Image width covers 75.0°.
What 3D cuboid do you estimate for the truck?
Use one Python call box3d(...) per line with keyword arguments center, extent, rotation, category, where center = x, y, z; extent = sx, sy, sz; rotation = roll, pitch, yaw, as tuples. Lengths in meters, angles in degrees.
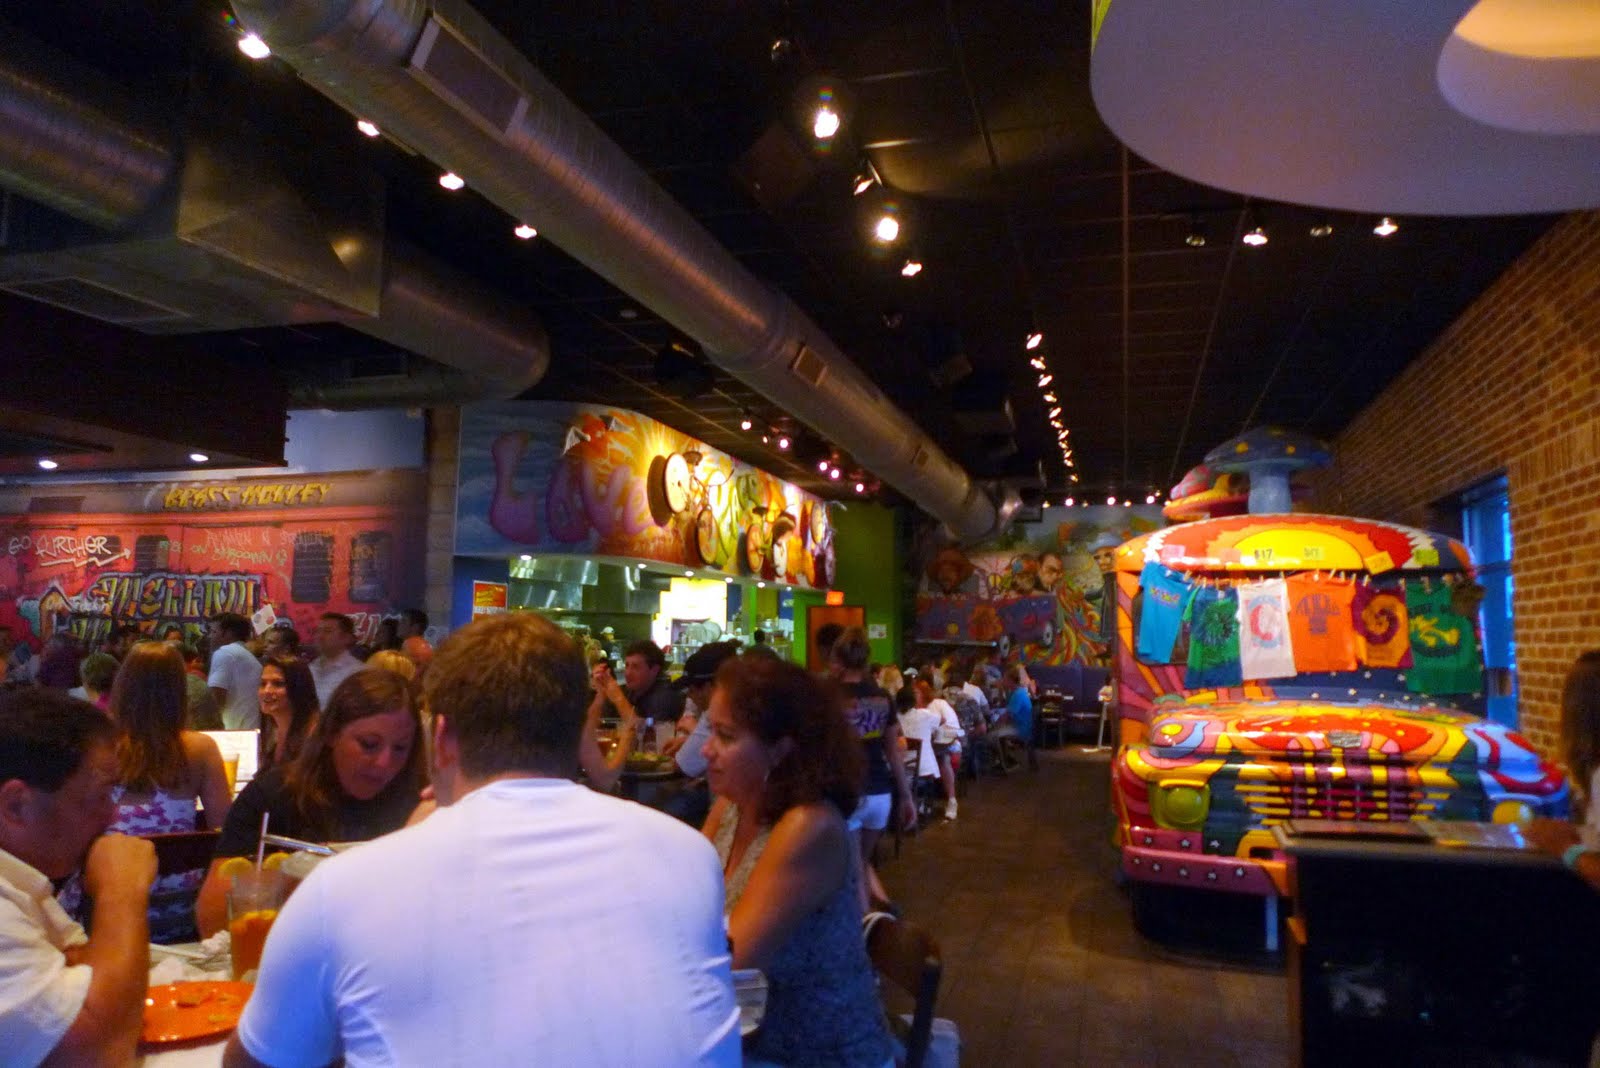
box3d(center=(3.040, 0.986, 6.214), extent=(2.297, 2.394, 2.108), rotation=(-1, -4, 16), category="truck")
